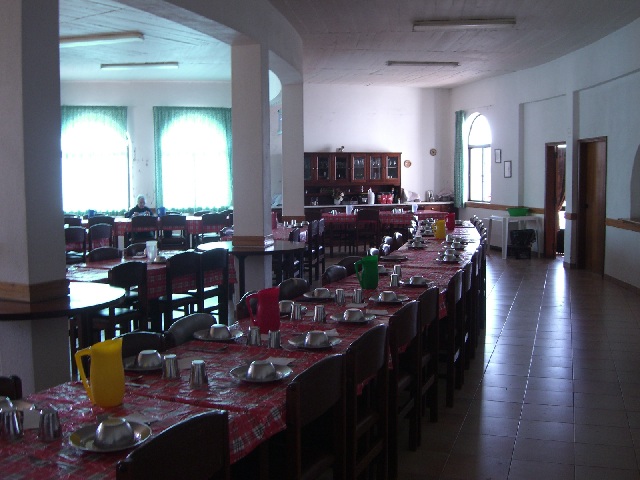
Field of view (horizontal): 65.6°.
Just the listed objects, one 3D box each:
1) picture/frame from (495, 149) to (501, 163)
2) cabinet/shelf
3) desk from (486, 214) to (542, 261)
[{"bbox_3d":[3.687,-1.744,10.285,0.032,0.335,0.252,-2,6,-18],"label":"picture/frame"},{"bbox_3d":[0.727,-1.370,11.006,2.187,1.113,0.274,-3,7,-15],"label":"cabinet/shelf"},{"bbox_3d":[3.646,-0.109,9.694,0.755,0.776,0.793,-4,14,-14],"label":"desk"}]
